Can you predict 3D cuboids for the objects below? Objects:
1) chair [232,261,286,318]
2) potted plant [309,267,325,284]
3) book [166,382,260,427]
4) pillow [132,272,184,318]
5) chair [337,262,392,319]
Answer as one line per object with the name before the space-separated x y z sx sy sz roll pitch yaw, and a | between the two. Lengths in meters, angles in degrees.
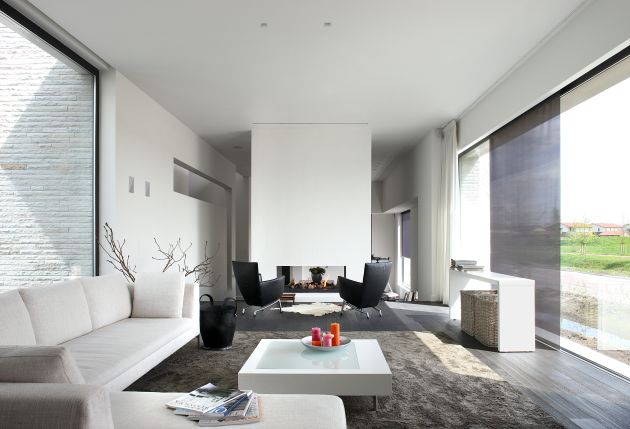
chair | -0.913 1.211 6.802 0.687 0.809 0.720 -5 -7 35
potted plant | 0.042 1.253 8.390 0.346 0.351 0.324 1 -8 -8
book | -0.701 1.355 2.911 0.687 0.144 0.312 1 4 19
pillow | -1.814 0.957 4.781 0.517 0.468 0.176 0 -20 2
chair | 0.788 1.195 6.596 0.630 0.815 0.690 8 -9 -32
